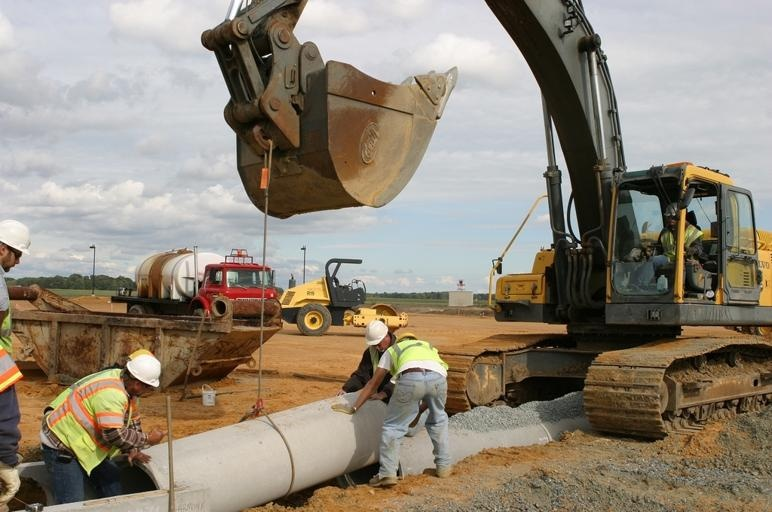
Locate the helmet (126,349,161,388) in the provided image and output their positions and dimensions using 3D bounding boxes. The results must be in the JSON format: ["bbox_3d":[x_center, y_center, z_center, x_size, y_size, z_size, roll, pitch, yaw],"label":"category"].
[{"bbox_3d":[-2.559,1.169,6.642,0.392,0.236,0.346,30,7,4],"label":"helmet"}]

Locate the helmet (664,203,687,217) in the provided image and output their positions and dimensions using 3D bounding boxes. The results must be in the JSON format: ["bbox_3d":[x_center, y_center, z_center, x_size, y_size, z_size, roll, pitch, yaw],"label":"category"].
[{"bbox_3d":[4.344,-0.703,9.464,0.140,0.228,0.405,0,-2,14],"label":"helmet"}]

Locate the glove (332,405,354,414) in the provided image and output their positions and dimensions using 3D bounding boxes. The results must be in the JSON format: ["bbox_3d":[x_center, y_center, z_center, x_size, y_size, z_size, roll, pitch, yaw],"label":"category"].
[{"bbox_3d":[-0.555,1.988,8.111,0.200,0.050,0.126,11,5,9],"label":"glove"}]

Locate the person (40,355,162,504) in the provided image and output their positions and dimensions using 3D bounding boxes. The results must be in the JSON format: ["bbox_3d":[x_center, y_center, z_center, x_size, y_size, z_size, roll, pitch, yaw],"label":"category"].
[{"bbox_3d":[-3.015,1.831,6.607,1.203,1.638,0.626,0,-2,12],"label":"person"}]

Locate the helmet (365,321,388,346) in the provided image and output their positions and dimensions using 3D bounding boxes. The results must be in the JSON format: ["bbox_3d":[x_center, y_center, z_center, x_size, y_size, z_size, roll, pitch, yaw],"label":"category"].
[{"bbox_3d":[-0.106,0.993,8.316,0.248,0.224,0.345,-8,25,27],"label":"helmet"}]

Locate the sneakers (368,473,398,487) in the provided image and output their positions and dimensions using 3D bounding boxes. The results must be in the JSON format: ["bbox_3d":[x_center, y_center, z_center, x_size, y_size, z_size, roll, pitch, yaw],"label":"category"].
[{"bbox_3d":[-0.039,2.771,7.758,0.350,0.187,0.140,2,-7,17],"label":"sneakers"}]

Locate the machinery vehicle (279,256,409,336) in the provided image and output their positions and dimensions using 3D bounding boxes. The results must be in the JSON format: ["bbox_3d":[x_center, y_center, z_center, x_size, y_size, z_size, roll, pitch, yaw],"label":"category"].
[{"bbox_3d":[-1.748,1.602,25.443,4.835,3.254,2.658,3,-1,-9],"label":"machinery vehicle"}]

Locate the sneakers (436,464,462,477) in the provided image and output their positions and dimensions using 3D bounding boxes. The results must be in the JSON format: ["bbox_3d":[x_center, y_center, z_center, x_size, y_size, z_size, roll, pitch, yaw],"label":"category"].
[{"bbox_3d":[0.738,2.706,7.879,0.168,0.136,0.168,3,-16,-28],"label":"sneakers"}]

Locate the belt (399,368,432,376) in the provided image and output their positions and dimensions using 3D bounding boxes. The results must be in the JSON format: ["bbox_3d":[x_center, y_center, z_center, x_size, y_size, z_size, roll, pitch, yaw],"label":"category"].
[{"bbox_3d":[0.361,1.432,7.738,0.365,0.080,0.072,0,-2,-4],"label":"belt"}]

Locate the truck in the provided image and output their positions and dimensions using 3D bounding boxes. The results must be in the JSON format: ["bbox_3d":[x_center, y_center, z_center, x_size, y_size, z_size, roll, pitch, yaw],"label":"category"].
[{"bbox_3d":[-6.662,1.170,21.203,6.937,2.633,2.288,-2,-5,43],"label":"truck"}]

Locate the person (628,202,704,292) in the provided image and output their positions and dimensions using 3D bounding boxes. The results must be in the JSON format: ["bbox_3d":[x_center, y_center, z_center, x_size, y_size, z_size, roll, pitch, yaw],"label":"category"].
[{"bbox_3d":[4.296,-0.140,9.621,1.027,1.330,0.686,-1,-2,26],"label":"person"}]
